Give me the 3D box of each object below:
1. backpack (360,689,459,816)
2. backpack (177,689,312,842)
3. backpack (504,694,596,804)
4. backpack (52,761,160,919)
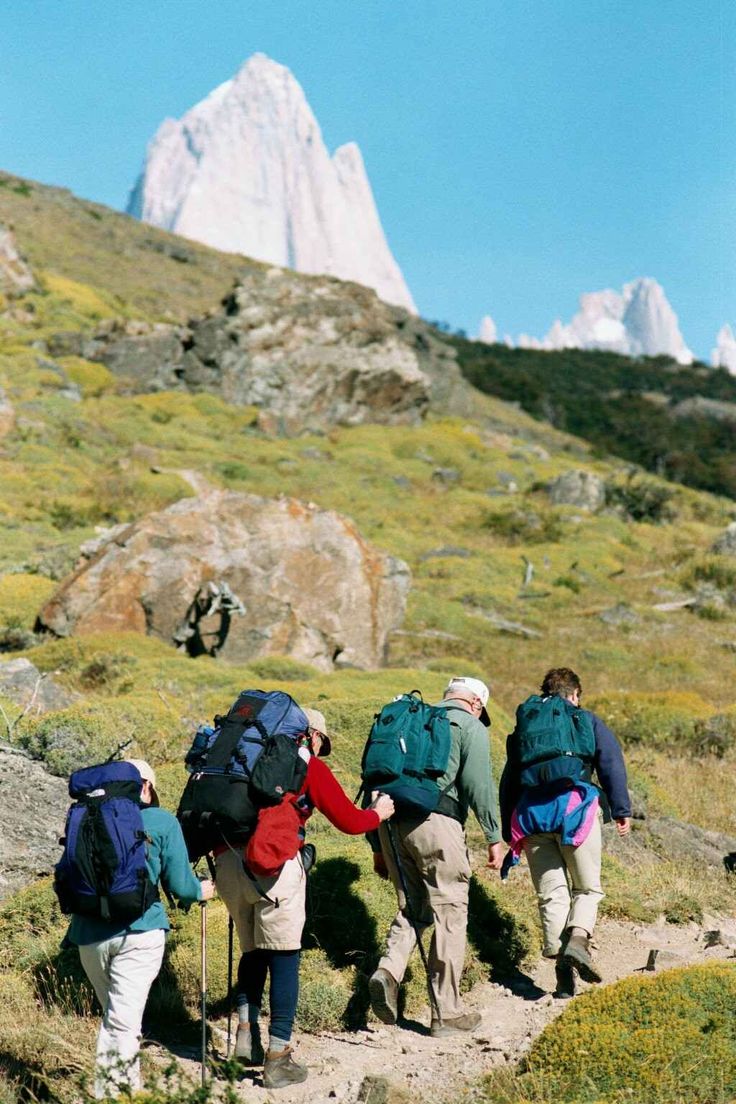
[{"bbox_3d":[0.223,1.221,8.995,0.545,0.690,0.406,-2,-25,27],"label":"backpack"},{"bbox_3d":[-0.738,1.213,8.437,0.673,0.893,0.410,-8,-39,41],"label":"backpack"},{"bbox_3d":[1.158,1.224,9.415,0.550,0.644,0.409,-7,-33,15],"label":"backpack"},{"bbox_3d":[-1.364,1.498,7.882,0.530,0.849,0.246,4,-1,-12],"label":"backpack"}]
